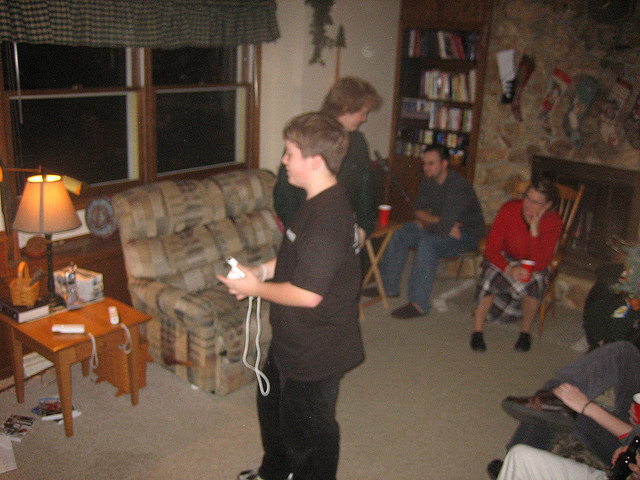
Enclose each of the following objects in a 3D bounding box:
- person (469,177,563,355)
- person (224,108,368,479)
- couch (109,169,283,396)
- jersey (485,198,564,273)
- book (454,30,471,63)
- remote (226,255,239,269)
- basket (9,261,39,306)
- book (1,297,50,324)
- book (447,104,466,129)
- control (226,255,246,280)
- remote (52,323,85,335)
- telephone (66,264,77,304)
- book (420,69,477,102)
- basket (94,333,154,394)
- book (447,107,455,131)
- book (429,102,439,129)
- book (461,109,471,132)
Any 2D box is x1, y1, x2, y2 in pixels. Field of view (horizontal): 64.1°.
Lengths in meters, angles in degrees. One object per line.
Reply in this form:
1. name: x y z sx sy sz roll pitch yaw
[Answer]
1. person: 1.847 0.203 4.680 0.903 1.540 0.639 0 15 3
2. person: -0.085 0.346 2.513 0.609 1.874 0.370 1 15 6
3. couch: -0.758 0.251 4.517 0.988 1.348 1.832 17 21 28
4. jersey: 1.876 0.031 4.751 0.584 0.761 0.477 14 16 10
5. book: 1.786 -2.411 6.366 0.079 0.322 0.308 1 11 23
6. remote: -0.427 0.111 2.505 0.071 0.044 0.021 51 5 21
7. basket: -2.156 0.309 3.700 0.175 0.276 0.279 -14 20 -41
8. book: -2.155 0.494 3.693 0.355 0.103 0.212 8 17 26
9. book: 1.760 -1.566 6.542 0.072 0.256 0.242 6 21 -17
10. control: -0.416 0.136 2.498 0.119 0.073 0.043 48 2 9
11. remote: -1.727 0.600 3.516 0.159 0.039 0.091 3 28 -6
12. telephone: -1.848 0.348 3.789 0.067 0.210 0.105 -7 16 -24
13. book: 1.737 -2.031 6.637 0.809 0.379 0.318 16 31 35
14. basket: -1.538 0.926 3.971 0.464 0.396 0.201 10 18 32
15. book: 1.692 -1.556 6.591 0.046 0.213 0.205 6 14 25
16. book: 1.507 -1.625 6.713 0.128 0.317 0.042 13 20 41
17. book: 1.858 -1.502 6.471 0.121 0.277 0.040 9 17 30
